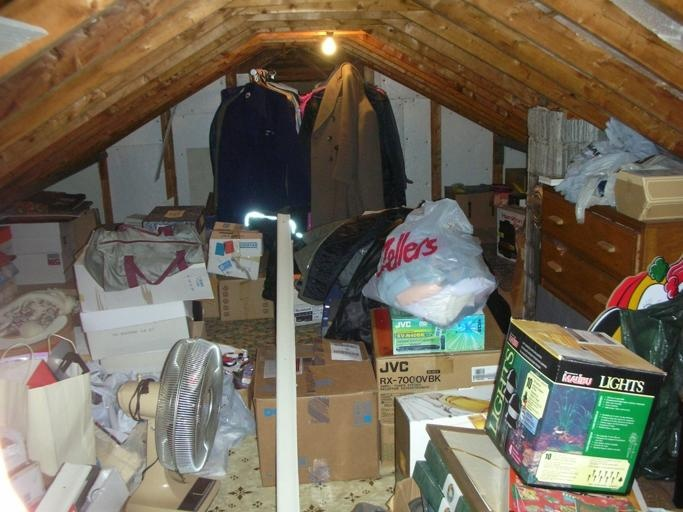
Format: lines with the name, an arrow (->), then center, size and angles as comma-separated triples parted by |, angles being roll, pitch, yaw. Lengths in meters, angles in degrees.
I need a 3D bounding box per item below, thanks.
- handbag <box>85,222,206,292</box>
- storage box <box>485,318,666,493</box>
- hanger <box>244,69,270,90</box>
handbag -> -1.068, -0.015, 3.015 | 0.507, 0.364, 0.153 | -2, -26, -24
storage box -> 0.603, 0.395, 1.755 | 0.458, 0.476, 0.468 | 7, 9, -12
hanger -> -0.583, -1.237, 3.957 | 0.134, 0.069, 0.178 | 8, 11, 33
